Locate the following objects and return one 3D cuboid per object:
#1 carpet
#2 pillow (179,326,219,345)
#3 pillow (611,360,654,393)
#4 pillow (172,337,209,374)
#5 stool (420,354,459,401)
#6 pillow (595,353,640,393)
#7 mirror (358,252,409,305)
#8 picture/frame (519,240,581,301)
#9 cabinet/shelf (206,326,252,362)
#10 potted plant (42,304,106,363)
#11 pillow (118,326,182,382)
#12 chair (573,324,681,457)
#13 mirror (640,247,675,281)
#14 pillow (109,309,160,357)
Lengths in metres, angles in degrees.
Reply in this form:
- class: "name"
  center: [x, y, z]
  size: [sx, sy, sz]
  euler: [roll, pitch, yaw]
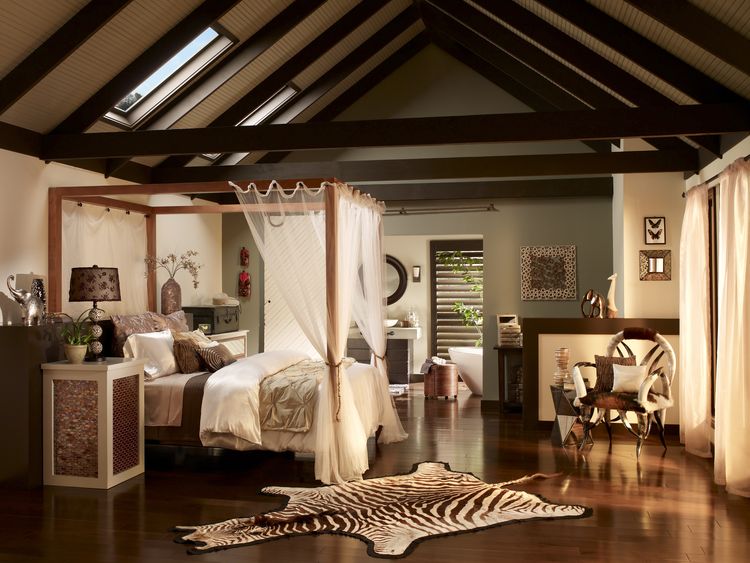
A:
- class: "carpet"
  center: [0.034, 1.965, 5.831]
  size: [3.173, 0.058, 1.487]
  euler: [-3, 8, -18]
- class: "pillow"
  center: [-1.931, 0.624, 7.471]
  size: [0.238, 0.075, 0.232]
  euler: [20, 1, 31]
- class: "pillow"
  center: [2.867, 1.070, 7.514]
  size: [0.367, 0.265, 0.426]
  euler: [2, 8, 21]
- class: "pillow"
  center: [-2.002, 0.815, 7.306]
  size: [0.327, 0.349, 0.155]
  euler: [-7, -12, -31]
- class: "stool"
  center: [1.007, 1.476, 10.165]
  size: [0.533, 0.564, 0.415]
  euler: [0, 7, 2]
- class: "pillow"
  center: [2.746, 1.038, 7.622]
  size: [0.368, 0.395, 0.146]
  euler: [0, -18, 11]
- class: "mirror"
  center: [0.143, -0.047, 8.996]
  size: [0.861, 0.923, 0.045]
  euler: [0, -3, -5]
- class: "picture/frame"
  center: [2.615, -0.158, 9.903]
  size: [0.831, 0.894, 0.066]
  euler: [0, -2, 4]
- class: "cabinet/shelf"
  center: [-2.037, 0.693, 9.649]
  size: [0.313, 0.820, 0.855]
  euler: [-3, -1, 17]
- class: "potted plant"
  center: [-2.998, 0.527, 6.713]
  size: [0.599, 0.498, 0.595]
  euler: [-1, -2, -28]
- class: "pillow"
  center: [-2.370, 0.750, 7.249]
  size: [0.367, 0.356, 0.950]
  euler: [20, 3, 6]
- class: "chair"
  center: [2.891, 1.215, 7.678]
  size: [0.951, 1.329, 1.336]
  euler: [5, 9, 35]
- class: "mirror"
  center: [3.456, -0.213, 8.214]
  size: [0.376, 0.427, 0.029]
  euler: [0, -3, 8]
- class: "pillow"
  center: [-2.775, 0.547, 7.584]
  size: [0.129, 0.453, 0.450]
  euler: [-26, -21, 32]
